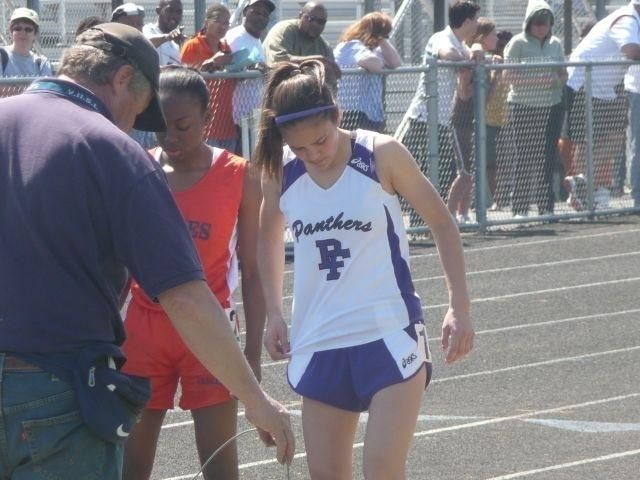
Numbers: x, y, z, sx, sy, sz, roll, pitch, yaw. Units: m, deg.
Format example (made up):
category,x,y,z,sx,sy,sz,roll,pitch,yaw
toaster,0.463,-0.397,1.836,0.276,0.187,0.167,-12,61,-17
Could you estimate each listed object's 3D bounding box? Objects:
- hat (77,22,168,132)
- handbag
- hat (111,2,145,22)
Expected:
category,x,y,z,sx,sy,sz,roll,pitch,yaw
hat,-0.826,-0.691,3.932,0.275,0.447,0.397,19,6,43
handbag,-0.801,0.608,3.593,0.262,0.343,0.258,1,6,-6
hat,-2.026,-2.307,9.629,0.298,0.192,0.432,-11,2,-30
